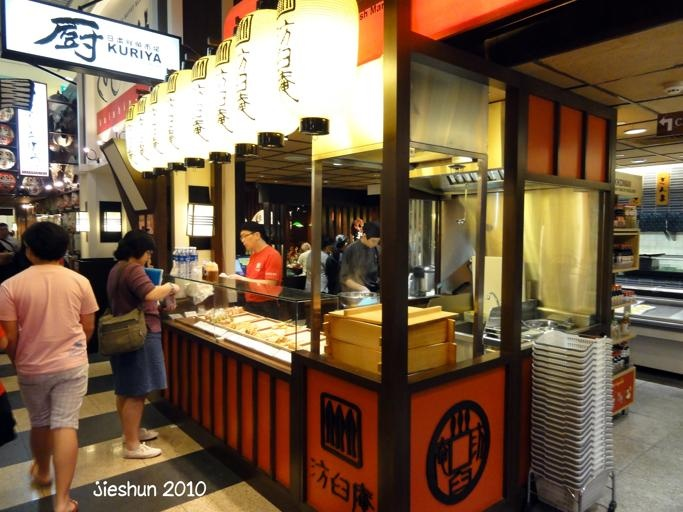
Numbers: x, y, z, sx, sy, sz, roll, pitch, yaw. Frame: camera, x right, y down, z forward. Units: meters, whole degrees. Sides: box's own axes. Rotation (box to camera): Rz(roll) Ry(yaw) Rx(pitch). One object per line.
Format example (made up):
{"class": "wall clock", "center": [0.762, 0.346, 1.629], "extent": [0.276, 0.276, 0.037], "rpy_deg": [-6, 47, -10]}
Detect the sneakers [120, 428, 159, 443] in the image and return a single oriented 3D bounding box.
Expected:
{"class": "sneakers", "center": [-1.829, 1.639, 5.000], "extent": [0.310, 0.127, 0.102], "rpy_deg": [-4, 8, -42]}

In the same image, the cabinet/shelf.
{"class": "cabinet/shelf", "center": [-0.763, 0.927, 5.064], "extent": [0.896, 1.463, 2.217], "rpy_deg": [-3, 8, -45]}

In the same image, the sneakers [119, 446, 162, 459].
{"class": "sneakers", "center": [-1.733, 1.673, 4.735], "extent": [0.302, 0.129, 0.123], "rpy_deg": [2, -2, -11]}

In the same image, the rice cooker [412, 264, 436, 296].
{"class": "rice cooker", "center": [1.042, 0.305, 6.928], "extent": [0.246, 0.370, 0.543], "rpy_deg": [7, 13, 28]}

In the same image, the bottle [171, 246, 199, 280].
{"class": "bottle", "center": [-1.636, 0.064, 5.805], "extent": [0.300, 0.555, 0.310], "rpy_deg": [0, 4, 0]}

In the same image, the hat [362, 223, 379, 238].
{"class": "hat", "center": [0.338, -0.301, 6.155], "extent": [0.165, 0.187, 0.298], "rpy_deg": [1, 12, 0]}

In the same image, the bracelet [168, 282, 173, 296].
{"class": "bracelet", "center": [-1.476, 0.281, 4.797], "extent": [0.037, 0.080, 0.104], "rpy_deg": [4, 27, -16]}

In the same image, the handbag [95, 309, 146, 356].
{"class": "handbag", "center": [-1.822, 0.613, 4.563], "extent": [0.372, 0.388, 0.199], "rpy_deg": [-10, -7, -4]}
